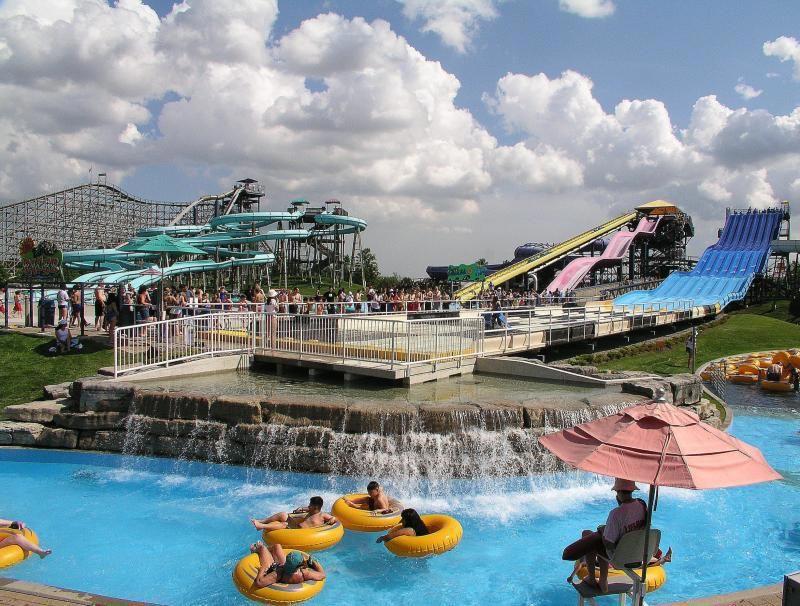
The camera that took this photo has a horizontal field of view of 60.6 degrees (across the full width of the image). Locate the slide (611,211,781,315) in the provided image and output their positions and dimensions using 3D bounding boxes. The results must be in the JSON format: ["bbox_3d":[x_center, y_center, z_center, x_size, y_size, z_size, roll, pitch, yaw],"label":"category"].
[{"bbox_3d":[24.677,-3.741,53.891,6.311,6.402,25.348,9,14,34],"label":"slide"}]

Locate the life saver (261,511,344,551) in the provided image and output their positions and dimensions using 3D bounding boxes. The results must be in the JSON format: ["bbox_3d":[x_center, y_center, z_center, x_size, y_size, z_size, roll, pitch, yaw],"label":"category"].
[{"bbox_3d":[-1.857,4.209,12.798,1.459,0.386,1.330,1,3,-15],"label":"life saver"}]

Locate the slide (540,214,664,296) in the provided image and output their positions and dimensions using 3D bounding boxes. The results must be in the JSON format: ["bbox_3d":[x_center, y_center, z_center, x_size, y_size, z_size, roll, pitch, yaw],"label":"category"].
[{"bbox_3d":[18.869,-3.996,62.255,3.378,4.287,31.264,2,12,36],"label":"slide"}]

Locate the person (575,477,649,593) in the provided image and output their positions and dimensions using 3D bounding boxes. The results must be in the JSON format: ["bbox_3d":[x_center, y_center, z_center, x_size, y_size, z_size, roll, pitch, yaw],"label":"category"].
[{"bbox_3d":[3.227,3.535,10.397,0.964,1.824,1.096,6,-2,-19],"label":"person"}]
